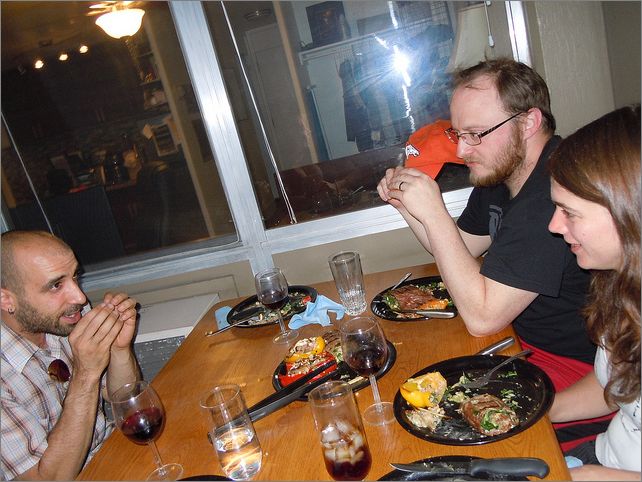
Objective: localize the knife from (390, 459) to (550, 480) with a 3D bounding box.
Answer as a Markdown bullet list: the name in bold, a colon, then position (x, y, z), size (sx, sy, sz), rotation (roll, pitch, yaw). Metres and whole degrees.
- **knife**: position (0.349, 0.548, 1.149), size (0.358, 0.059, 0.046), rotation (-9, 19, 16)

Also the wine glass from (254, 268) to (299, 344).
- **wine glass**: position (-0.179, 0.276, 1.887), size (0.144, 0.301, 0.165), rotation (8, 17, 17)

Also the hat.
- **hat**: position (0.491, -0.413, 2.152), size (0.321, 0.163, 0.205), rotation (-28, 24, -21)

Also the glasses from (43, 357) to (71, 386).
- **glasses**: position (-1.034, 0.513, 1.907), size (0.028, 0.084, 0.069), rotation (-14, 0, 37)

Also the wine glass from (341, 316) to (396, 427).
- **wine glass**: position (0.120, 0.392, 1.401), size (0.142, 0.298, 0.218), rotation (4, 14, 7)

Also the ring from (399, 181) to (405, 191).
- **ring**: position (0.318, -0.213, 1.870), size (0.025, 0.025, 0.025), rotation (-4, 9, 1)

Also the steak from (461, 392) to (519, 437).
- **steak**: position (0.454, 0.466, 1.303), size (0.123, 0.051, 0.164), rotation (-9, 14, -15)

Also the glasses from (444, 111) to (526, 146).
- **glasses**: position (0.611, -0.415, 1.784), size (0.155, 0.042, 0.146), rotation (-31, 16, -1)

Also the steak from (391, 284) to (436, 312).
- **steak**: position (0.345, 0.214, 1.831), size (0.087, 0.029, 0.109), rotation (-14, 9, -23)

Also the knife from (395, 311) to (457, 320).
- **knife**: position (0.382, 0.265, 1.717), size (0.209, 0.024, 0.029), rotation (1, 14, 30)
